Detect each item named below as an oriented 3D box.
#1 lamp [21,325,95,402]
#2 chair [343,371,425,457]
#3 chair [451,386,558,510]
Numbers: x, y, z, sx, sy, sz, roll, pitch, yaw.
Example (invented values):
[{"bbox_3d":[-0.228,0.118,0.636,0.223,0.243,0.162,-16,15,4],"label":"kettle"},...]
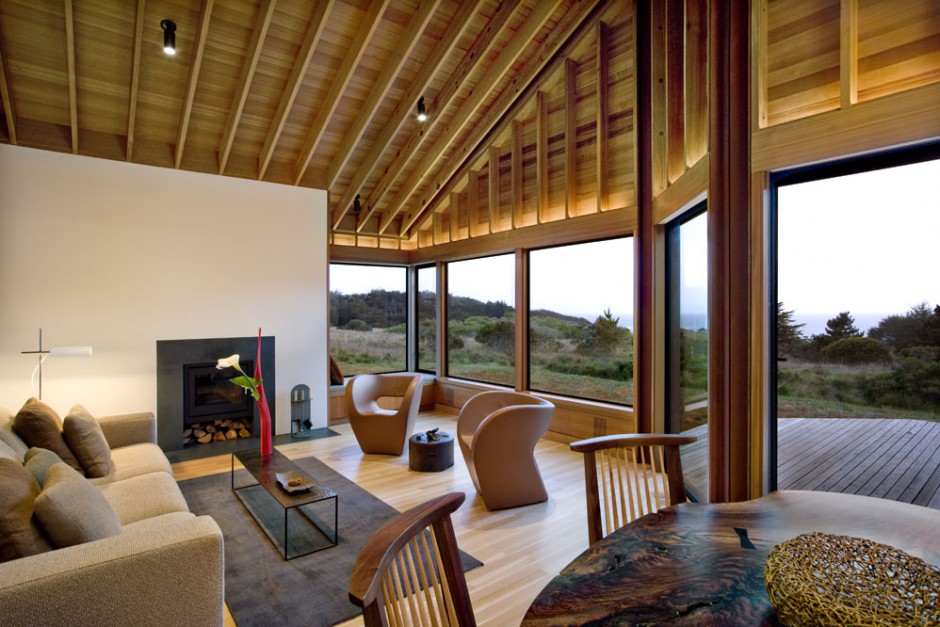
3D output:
[{"bbox_3d":[-4.421,0.522,6.514,0.795,1.106,0.199,-1,4,-25],"label":"lamp"},{"bbox_3d":[-1.039,1.268,7.401,1.012,1.006,0.882,-4,-16,14],"label":"chair"},{"bbox_3d":[0.317,1.301,6.077,0.936,1.071,1.140,3,-8,-10],"label":"chair"}]
